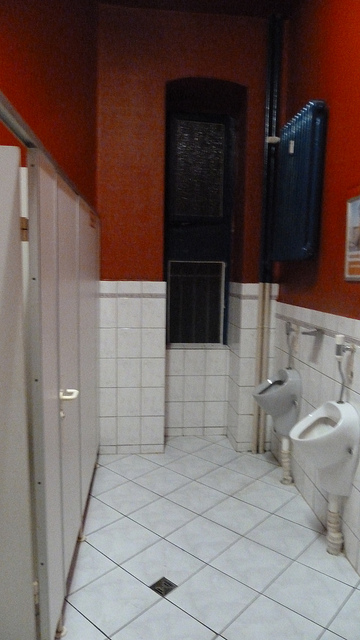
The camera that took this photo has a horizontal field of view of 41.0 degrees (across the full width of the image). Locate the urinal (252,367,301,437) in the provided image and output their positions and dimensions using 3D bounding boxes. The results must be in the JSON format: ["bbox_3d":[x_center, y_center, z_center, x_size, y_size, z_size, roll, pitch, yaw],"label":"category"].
[{"bbox_3d":[0.619,0.484,2.994,0.239,0.441,0.287,1,7,-14],"label":"urinal"}]

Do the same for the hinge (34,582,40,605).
[{"bbox_3d":[-0.388,0.737,1.296,0.010,0.081,0.033,0,4,-13],"label":"hinge"}]
